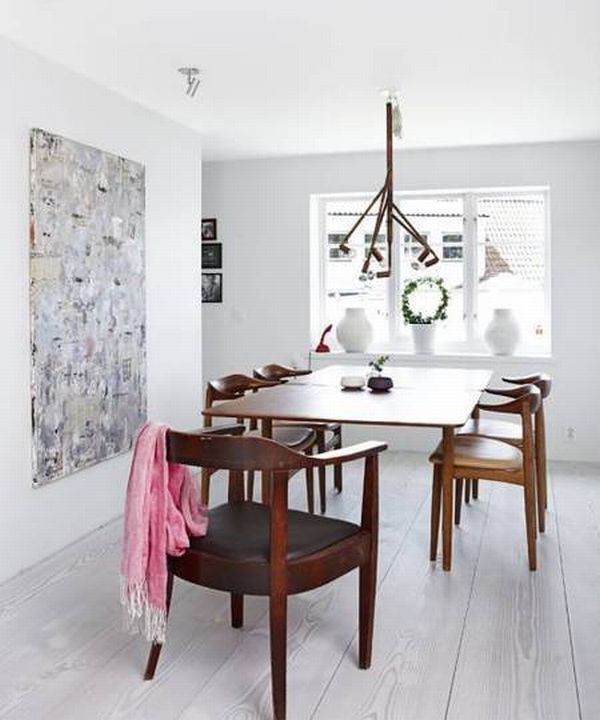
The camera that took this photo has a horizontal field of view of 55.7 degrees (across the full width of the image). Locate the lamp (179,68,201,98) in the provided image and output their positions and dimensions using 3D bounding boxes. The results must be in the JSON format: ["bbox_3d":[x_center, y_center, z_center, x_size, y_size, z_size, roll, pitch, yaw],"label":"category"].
[{"bbox_3d":[-0.557,-1.440,2.898,0.077,0.128,0.112,5,-13,4],"label":"lamp"}]

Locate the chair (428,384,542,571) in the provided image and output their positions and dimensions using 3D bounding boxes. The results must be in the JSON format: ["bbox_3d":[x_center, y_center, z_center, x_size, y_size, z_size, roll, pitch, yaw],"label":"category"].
[{"bbox_3d":[0.879,0.505,2.633,0.417,0.885,0.597,2,7,23],"label":"chair"}]

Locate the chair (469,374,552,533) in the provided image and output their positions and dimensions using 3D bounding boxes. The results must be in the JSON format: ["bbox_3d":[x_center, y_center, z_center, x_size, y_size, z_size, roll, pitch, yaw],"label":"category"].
[{"bbox_3d":[1.006,0.495,2.818,0.363,0.751,0.498,1,7,25],"label":"chair"}]

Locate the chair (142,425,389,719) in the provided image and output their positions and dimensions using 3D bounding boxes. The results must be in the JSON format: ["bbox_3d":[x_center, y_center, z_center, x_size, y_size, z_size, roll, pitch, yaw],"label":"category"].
[{"bbox_3d":[-0.160,0.301,1.620,0.595,1.012,0.579,2,5,35],"label":"chair"}]

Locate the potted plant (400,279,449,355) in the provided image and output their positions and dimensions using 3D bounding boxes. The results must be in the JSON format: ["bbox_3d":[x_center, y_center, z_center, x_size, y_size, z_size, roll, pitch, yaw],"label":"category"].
[{"bbox_3d":[1.063,-0.381,4.748,0.439,0.834,0.289,-1,-2,11],"label":"potted plant"}]

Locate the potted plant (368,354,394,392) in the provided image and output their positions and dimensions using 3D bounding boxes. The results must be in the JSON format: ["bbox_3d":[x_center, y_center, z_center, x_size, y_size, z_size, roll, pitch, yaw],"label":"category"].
[{"bbox_3d":[0.432,0.075,2.985,0.124,0.230,0.197,1,-3,-6],"label":"potted plant"}]

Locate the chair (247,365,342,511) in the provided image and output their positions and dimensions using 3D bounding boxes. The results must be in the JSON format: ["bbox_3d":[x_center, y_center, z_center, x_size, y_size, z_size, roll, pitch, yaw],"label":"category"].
[{"bbox_3d":[-0.082,0.452,3.482,0.423,0.804,0.454,-5,-5,-20],"label":"chair"}]

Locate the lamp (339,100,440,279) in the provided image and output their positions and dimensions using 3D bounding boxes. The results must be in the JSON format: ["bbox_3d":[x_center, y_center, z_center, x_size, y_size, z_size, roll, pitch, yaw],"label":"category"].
[{"bbox_3d":[0.455,-0.864,2.851,0.400,0.804,0.474,-13,20,-28],"label":"lamp"}]
